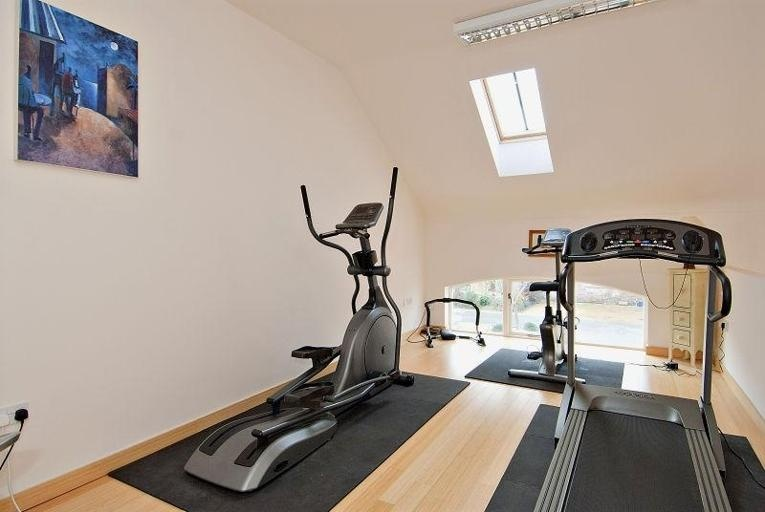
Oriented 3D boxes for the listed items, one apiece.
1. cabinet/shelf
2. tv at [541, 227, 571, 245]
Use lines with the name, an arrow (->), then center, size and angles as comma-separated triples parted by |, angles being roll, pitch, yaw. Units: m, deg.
cabinet/shelf -> 3.403, 0.679, 5.541 | 0.465, 0.999, 0.432 | 1, 1, 16
tv -> 1.770, -0.180, 5.185 | 0.317, 0.084, 0.336 | 4, 33, 39
